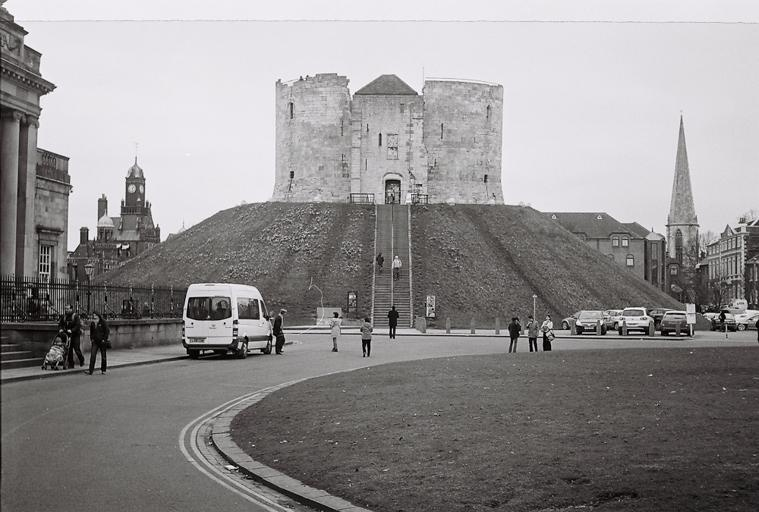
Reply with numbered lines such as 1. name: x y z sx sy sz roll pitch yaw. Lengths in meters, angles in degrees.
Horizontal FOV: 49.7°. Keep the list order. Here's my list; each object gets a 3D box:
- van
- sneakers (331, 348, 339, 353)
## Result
1. van: -6.038 2.529 33.920 2.092 2.058 4.239 -1 -2 16
2. sneakers: -1.861 4.106 35.610 0.282 0.191 0.123 6 -7 -33
